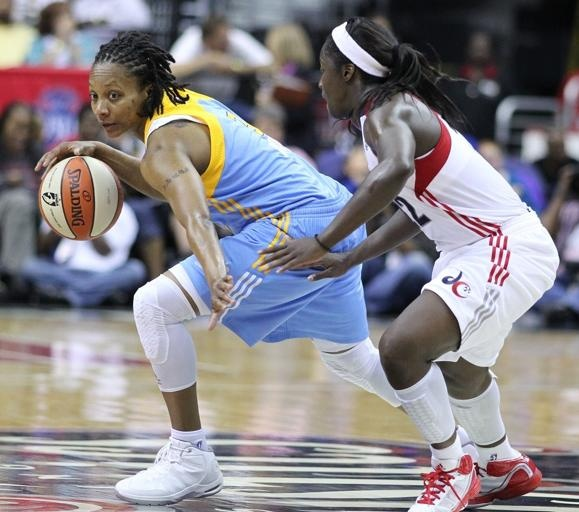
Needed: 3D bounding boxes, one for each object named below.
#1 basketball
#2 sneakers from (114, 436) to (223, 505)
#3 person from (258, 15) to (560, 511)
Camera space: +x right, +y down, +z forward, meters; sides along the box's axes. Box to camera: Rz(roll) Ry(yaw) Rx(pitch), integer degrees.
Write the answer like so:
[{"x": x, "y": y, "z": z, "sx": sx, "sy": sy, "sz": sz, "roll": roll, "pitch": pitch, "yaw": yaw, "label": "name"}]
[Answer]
[{"x": -0.710, "y": -0.190, "z": 2.679, "sx": 0.333, "sy": 0.309, "sz": 0.296, "roll": 2, "pitch": 2, "yaw": 9, "label": "basketball"}, {"x": -0.356, "y": 0.676, "z": 2.522, "sx": 0.422, "sy": 0.191, "sz": 0.140, "roll": -3, "pitch": 1, "yaw": -24, "label": "sneakers"}, {"x": 0.406, "y": 0.040, "z": 2.490, "sx": 0.994, "sy": 1.463, "sz": 0.559, "roll": 4, "pitch": -1, "yaw": -43, "label": "person"}]
